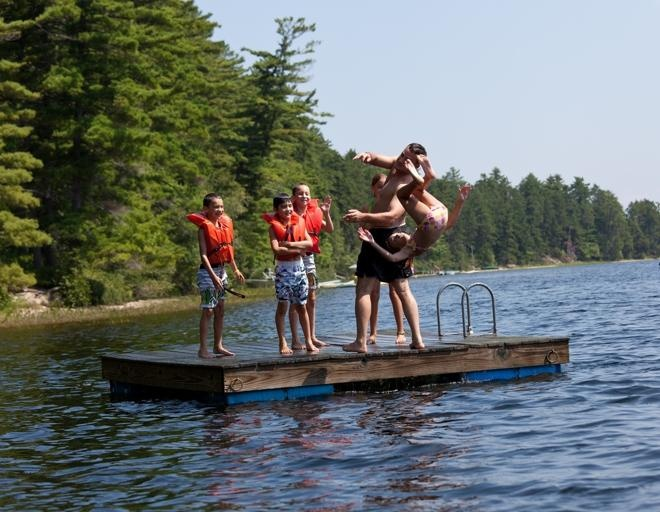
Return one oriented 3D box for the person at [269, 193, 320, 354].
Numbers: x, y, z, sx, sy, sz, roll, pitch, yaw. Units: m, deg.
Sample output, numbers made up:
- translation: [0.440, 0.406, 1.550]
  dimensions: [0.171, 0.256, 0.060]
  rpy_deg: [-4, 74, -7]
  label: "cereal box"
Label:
- translation: [-0.681, 0.315, 19.050]
  dimensions: [0.643, 2.819, 0.954]
  rpy_deg: [-4, -4, 28]
  label: "person"
